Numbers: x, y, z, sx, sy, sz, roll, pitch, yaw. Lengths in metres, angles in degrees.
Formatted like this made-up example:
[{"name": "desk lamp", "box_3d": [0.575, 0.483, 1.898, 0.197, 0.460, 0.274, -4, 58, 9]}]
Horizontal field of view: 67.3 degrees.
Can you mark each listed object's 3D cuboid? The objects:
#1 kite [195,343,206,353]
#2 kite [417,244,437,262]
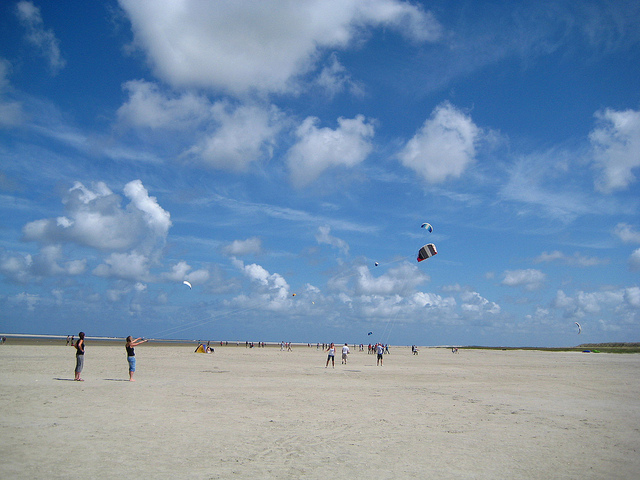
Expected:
[{"name": "kite", "box_3d": [-12.181, 11.243, 49.633, 0.859, 1.039, 2.669, 2, -3, -1]}, {"name": "kite", "box_3d": [6.352, 0.739, 28.715, 0.907, 0.998, 1.702, 1, -11, 9]}]
